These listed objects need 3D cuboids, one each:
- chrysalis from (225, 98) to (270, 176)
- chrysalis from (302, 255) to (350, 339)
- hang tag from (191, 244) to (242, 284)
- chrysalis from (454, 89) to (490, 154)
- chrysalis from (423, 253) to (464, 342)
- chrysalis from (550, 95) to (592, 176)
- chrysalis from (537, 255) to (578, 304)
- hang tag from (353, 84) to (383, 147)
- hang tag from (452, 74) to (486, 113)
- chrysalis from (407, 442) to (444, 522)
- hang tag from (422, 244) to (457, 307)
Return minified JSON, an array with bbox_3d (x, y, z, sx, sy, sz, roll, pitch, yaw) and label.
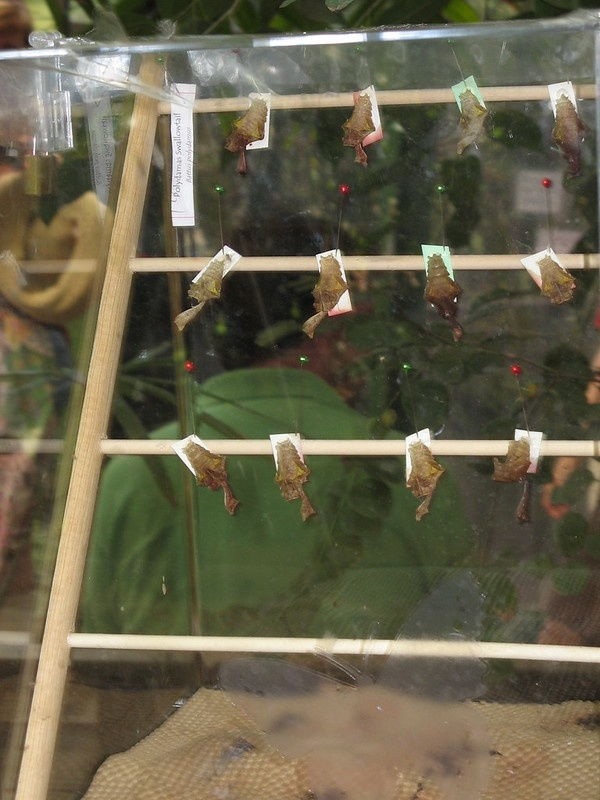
[{"bbox_3d":[-0.088,-0.333,0.991,0.047,0.085,0.036,29,10,-34],"label":"chrysalis"},{"bbox_3d":[0.027,-0.132,0.995,0.057,0.101,0.043,-10,31,-20],"label":"chrysalis"},{"bbox_3d":[-0.109,-0.173,1.012,0.036,0.064,0.013,41,4,-3],"label":"hang tag"},{"bbox_3d":[0.209,-0.346,0.959,0.044,0.061,0.023,-2,24,-4],"label":"chrysalis"},{"bbox_3d":[0.171,-0.123,0.963,0.053,0.093,0.038,-7,14,7],"label":"chrysalis"},{"bbox_3d":[0.325,-0.322,0.960,0.046,0.082,0.035,-10,6,1],"label":"chrysalis"},{"bbox_3d":[0.305,-0.142,0.945,0.047,0.055,0.013,-37,-5,20],"label":"chrysalis"},{"bbox_3d":[0.084,-0.359,1.002,0.042,0.062,0.003,5,16,31],"label":"hang tag"},{"bbox_3d":[0.203,-0.380,0.975,0.039,0.041,0.015,-12,-9,13],"label":"hang tag"},{"bbox_3d":[0.149,0.094,0.920,0.060,0.034,0.116,-9,15,11],"label":"chrysalis"},{"bbox_3d":[0.176,-0.151,0.966,0.051,0.066,0.017,-5,-14,3],"label":"hang tag"}]
